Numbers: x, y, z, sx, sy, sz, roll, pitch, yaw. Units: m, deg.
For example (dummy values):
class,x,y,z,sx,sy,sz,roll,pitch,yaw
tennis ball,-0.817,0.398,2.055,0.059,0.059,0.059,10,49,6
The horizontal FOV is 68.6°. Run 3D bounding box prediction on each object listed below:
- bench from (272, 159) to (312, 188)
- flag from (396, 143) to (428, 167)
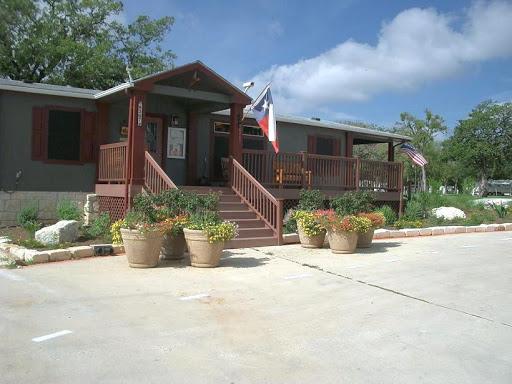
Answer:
class,x,y,z,sx,sy,sz,roll,pitch,yaw
bench,1.345,-0.640,13.804,1.506,0.978,0.790,0,3,-21
flag,8.291,-2.038,19.923,1.246,1.227,2.591,2,3,21
